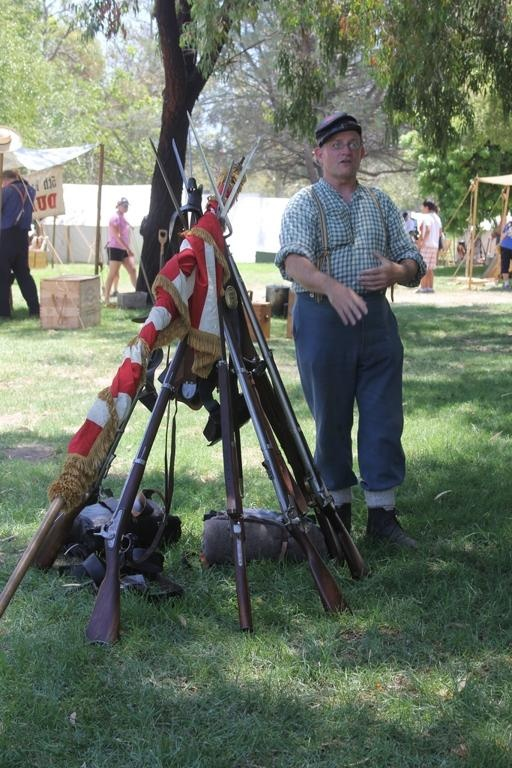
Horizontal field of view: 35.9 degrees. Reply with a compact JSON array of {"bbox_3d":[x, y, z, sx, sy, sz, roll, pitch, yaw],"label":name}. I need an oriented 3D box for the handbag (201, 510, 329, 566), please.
[{"bbox_3d":[0.008,0.645,3.256,0.435,0.158,0.263,2,3,-8],"label":"handbag"}]

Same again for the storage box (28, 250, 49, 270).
[{"bbox_3d":[-5.900,-3.362,21.337,0.502,0.676,0.727,0,5,4],"label":"storage box"}]

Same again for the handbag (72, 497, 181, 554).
[{"bbox_3d":[-0.575,0.579,3.300,0.360,0.140,0.253,4,10,4],"label":"handbag"}]

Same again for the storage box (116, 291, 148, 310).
[{"bbox_3d":[-2.005,-1.333,12.637,0.491,0.325,0.482,1,4,-10],"label":"storage box"}]

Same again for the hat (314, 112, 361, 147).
[{"bbox_3d":[0.337,-1.083,3.312,0.187,0.165,0.238,2,4,4],"label":"hat"}]

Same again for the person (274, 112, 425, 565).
[{"bbox_3d":[0.359,-0.235,3.382,0.449,1.769,0.696,4,5,32],"label":"person"}]

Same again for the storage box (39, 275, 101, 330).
[{"bbox_3d":[-2.587,-1.123,10.917,0.584,0.679,1.007,1,9,4],"label":"storage box"}]
